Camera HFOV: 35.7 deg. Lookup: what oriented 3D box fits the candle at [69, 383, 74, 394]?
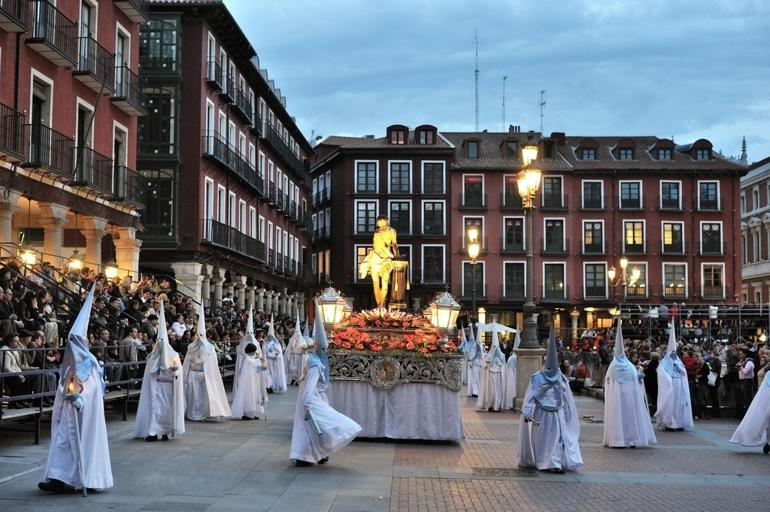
[{"bbox_3d":[-8.588,3.566,32.480,0.147,0.267,0.069,3,-10,-13],"label":"candle"}]
